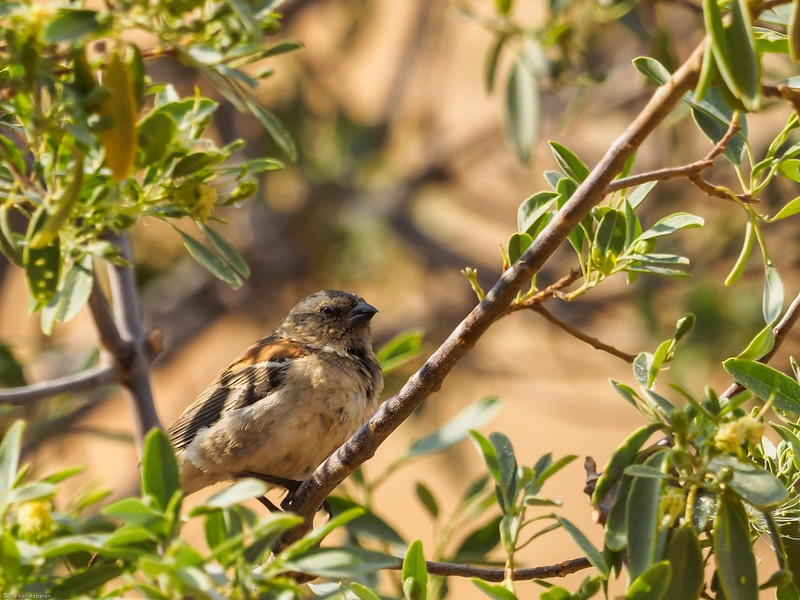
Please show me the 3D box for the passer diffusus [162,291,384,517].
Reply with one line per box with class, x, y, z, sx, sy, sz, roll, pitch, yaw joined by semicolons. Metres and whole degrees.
passer diffusus;-0.692;0.496;4.338;1.237;0.959;0.707;-6;-15;25
